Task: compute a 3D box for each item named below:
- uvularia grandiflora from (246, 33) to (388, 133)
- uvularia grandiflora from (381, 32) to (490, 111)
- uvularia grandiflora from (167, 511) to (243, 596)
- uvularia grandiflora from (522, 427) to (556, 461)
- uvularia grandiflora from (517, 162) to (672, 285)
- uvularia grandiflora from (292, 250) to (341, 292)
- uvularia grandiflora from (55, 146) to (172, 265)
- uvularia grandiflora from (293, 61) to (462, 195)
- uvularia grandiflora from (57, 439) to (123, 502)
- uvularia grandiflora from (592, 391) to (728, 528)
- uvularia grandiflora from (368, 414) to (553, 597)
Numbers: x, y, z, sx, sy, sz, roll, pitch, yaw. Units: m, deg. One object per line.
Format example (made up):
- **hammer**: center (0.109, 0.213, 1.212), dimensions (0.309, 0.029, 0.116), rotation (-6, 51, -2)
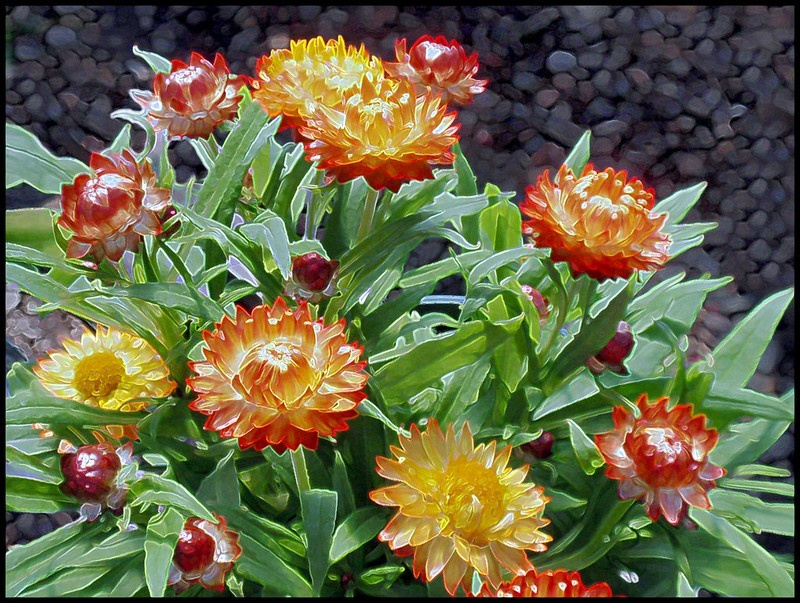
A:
- **uvularia grandiflora**: center (-0.108, -0.296, 0.939), dimensions (0.186, 0.191, 0.093), rotation (3, 94, 37)
- **uvularia grandiflora**: center (0.044, -0.324, 0.953), dimensions (0.150, 0.152, 0.071), rotation (4, 105, 21)
- **uvularia grandiflora**: center (-0.227, 0.297, 0.799), dimensions (0.072, 0.043, 0.099), rotation (20, 83, 3)
- **uvularia grandiflora**: center (0.183, 0.189, 0.917), dimensions (0.030, 0.041, 0.026), rotation (23, 53, -20)
- **uvularia grandiflora**: center (0.239, -0.111, 0.864), dimensions (0.163, 0.168, 0.084), rotation (15, 88, -38)
- **uvularia grandiflora**: center (-0.102, -0.033, 0.824), dimensions (0.048, 0.032, 0.043), rotation (-9, 65, -10)
- **uvularia grandiflora**: center (-0.331, -0.110, 0.801), dimensions (0.115, 0.056, 0.135), rotation (9, 83, 1)
- **uvularia grandiflora**: center (-0.012, -0.217, 0.865), dimensions (0.163, 0.192, 0.086), rotation (-7, 96, -7)
- **uvularia grandiflora**: center (-0.368, 0.202, 0.814), dimensions (0.071, 0.044, 0.068), rotation (0, 83, 0)
- **uvularia grandiflora**: center (0.299, 0.175, 0.787), dimensions (0.133, 0.077, 0.138), rotation (-24, 83, -3)
- **uvularia grandiflora**: center (0.067, 0.230, 0.778), dimensions (0.175, 0.070, 0.205), rotation (-40, 85, -5)
